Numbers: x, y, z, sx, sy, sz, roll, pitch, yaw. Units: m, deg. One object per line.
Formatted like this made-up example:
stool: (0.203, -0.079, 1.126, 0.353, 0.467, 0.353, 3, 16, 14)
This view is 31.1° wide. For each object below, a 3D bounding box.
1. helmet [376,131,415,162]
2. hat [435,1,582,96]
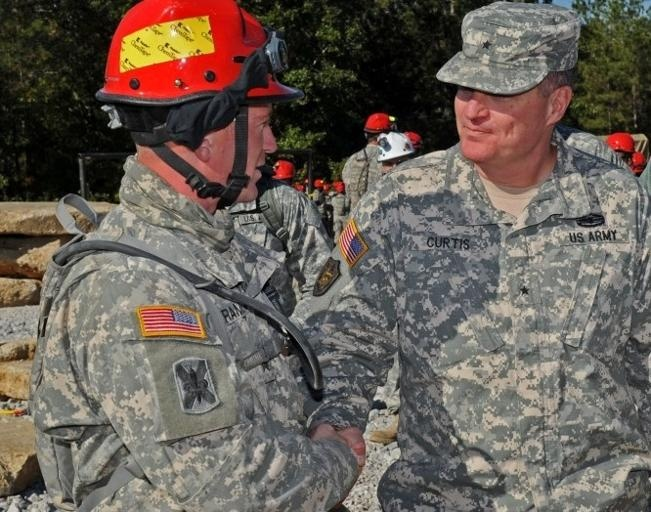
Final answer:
helmet: (0.728, -1.162, 12.284, 0.341, 0.279, 0.274, -20, 12, 14)
hat: (0.827, -0.942, 5.343, 0.419, 0.333, 0.590, 21, 49, 37)
